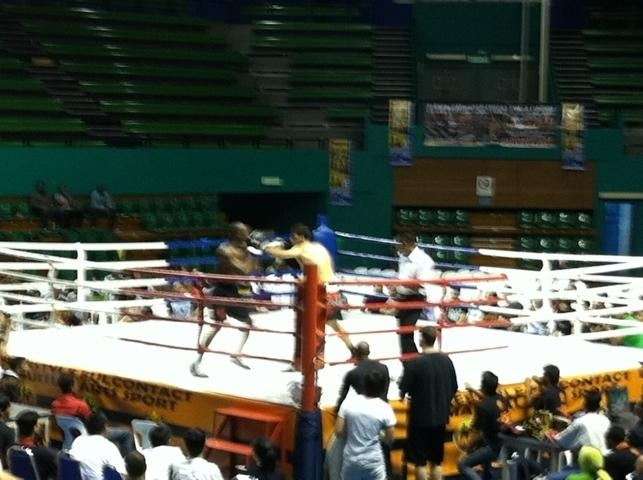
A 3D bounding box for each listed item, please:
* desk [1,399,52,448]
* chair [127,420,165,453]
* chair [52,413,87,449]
[{"bbox_3d":[-3.720,2.349,12.187,0.557,0.598,1.724,1,-5,-16],"label":"desk"},{"bbox_3d":[-2.262,2.453,12.036,0.431,0.375,0.350,6,-11,-36],"label":"chair"},{"bbox_3d":[-3.036,2.382,11.842,0.144,0.247,0.223,-34,-11,23],"label":"chair"}]
